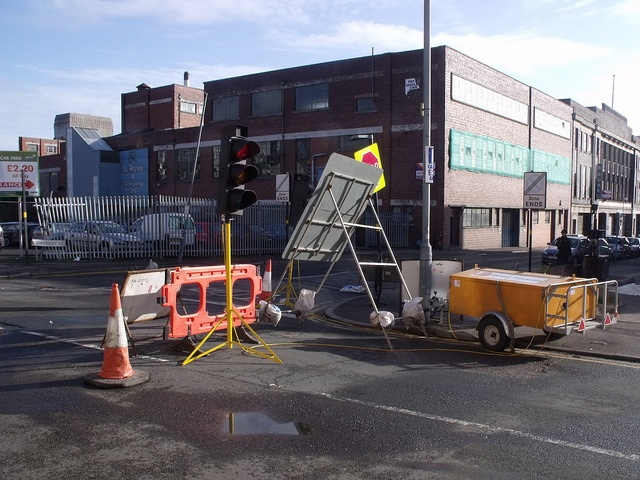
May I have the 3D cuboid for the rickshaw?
[{"bbox_3d":[3.992,1.227,11.603,2.284,1.444,1.814,2,2,41],"label":"rickshaw"}]

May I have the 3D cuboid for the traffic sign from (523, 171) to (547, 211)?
[{"bbox_3d":[6.396,-1.471,17.617,0.612,1.088,0.938,2,6,18],"label":"traffic sign"}]

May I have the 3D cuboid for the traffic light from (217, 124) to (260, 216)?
[{"bbox_3d":[-1.462,-1.236,10.451,0.720,1.621,0.573,-1,5,-11],"label":"traffic light"}]

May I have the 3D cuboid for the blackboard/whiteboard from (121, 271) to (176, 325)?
[{"bbox_3d":[-3.246,1.046,10.873,1.046,1.001,0.818,8,8,-45],"label":"blackboard/whiteboard"}]

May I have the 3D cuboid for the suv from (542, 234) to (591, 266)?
[{"bbox_3d":[12.952,0.532,30.808,1.672,1.415,4.091,6,7,42],"label":"suv"}]
